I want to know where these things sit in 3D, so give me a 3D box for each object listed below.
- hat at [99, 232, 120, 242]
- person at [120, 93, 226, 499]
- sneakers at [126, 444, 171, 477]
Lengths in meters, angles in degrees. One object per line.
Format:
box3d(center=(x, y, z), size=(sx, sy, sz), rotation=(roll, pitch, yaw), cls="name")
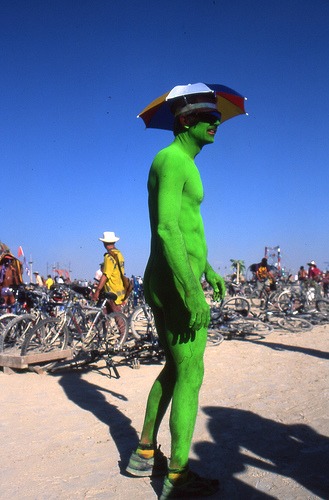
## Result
box3d(center=(-0.797, -0.162, 6.019), size=(0.356, 0.152, 0.402), rotation=(1, 4, 4), cls="hat")
box3d(center=(0.114, 0.182, 2.189), size=(0.497, 2.248, 0.773), rotation=(4, -5, -3), cls="person")
box3d(center=(-0.093, 1.239, 2.489), size=(0.320, 0.157, 0.130), rotation=(15, -16, -43), cls="sneakers")
